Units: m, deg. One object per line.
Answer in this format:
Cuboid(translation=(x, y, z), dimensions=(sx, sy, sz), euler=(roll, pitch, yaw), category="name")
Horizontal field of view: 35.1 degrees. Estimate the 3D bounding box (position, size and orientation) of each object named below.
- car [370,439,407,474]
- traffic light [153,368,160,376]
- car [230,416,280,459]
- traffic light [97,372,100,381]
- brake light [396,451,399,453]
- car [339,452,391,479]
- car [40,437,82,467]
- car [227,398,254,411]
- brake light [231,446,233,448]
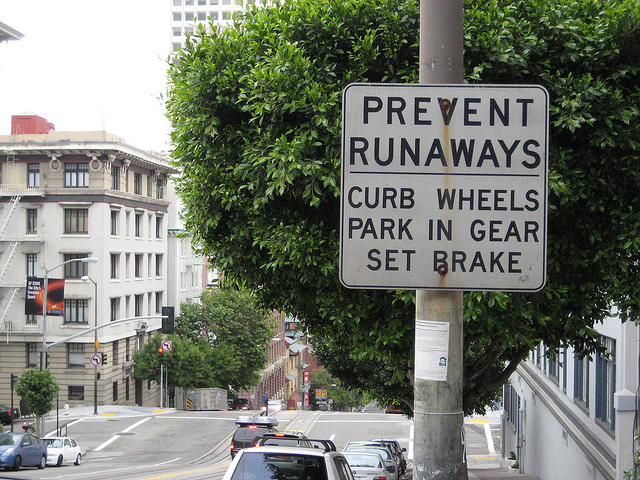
Cuboid(translation=(3.226, 9.485, 44.977), dimensions=(1.261, 1.147, 2.842), euler=(0, -1, 5), category="car")
Cuboid(translation=(-10.919, 8.741, 66.845), dimensions=(0.476, 0.578, 0.388), euler=(-1, -6, 2), category="traffic light")
Cuboid(translation=(-2.969, 8.754, 44.586), dimensions=(1.470, 2.350, 4.368), euler=(9, -6, 6), category="car")
Cuboid(translation=(-14.189, 8.712, 64.279), dimensions=(0.144, 0.563, 0.830), euler=(3, -3, -13), category="traffic light")
Cuboid(translation=(3.345, 9.319, 44.362), dimensions=(0.092, 0.117, 0.105), euler=(-4, -13, 1), category="brake light")
Cuboid(translation=(1.535, 7.457, 33.421), dimensions=(0.955, 0.864, 2.473), euler=(0, -13, 4), category="car")
Cuboid(translation=(-11.708, 9.579, 45.669), dimensions=(1.051, 0.813, 1.803), euler=(-3, -16, 12), category="car")
Cuboid(translation=(-6.292, 12.881, 79.336), dimensions=(0.876, 0.799, 1.535), euler=(0, -17, 7), category="car")
Cuboid(translation=(-3.799, 8.827, 43.040), dimensions=(0.056, 0.118, 0.064), euler=(-4, -31, 20), category="brake light")
